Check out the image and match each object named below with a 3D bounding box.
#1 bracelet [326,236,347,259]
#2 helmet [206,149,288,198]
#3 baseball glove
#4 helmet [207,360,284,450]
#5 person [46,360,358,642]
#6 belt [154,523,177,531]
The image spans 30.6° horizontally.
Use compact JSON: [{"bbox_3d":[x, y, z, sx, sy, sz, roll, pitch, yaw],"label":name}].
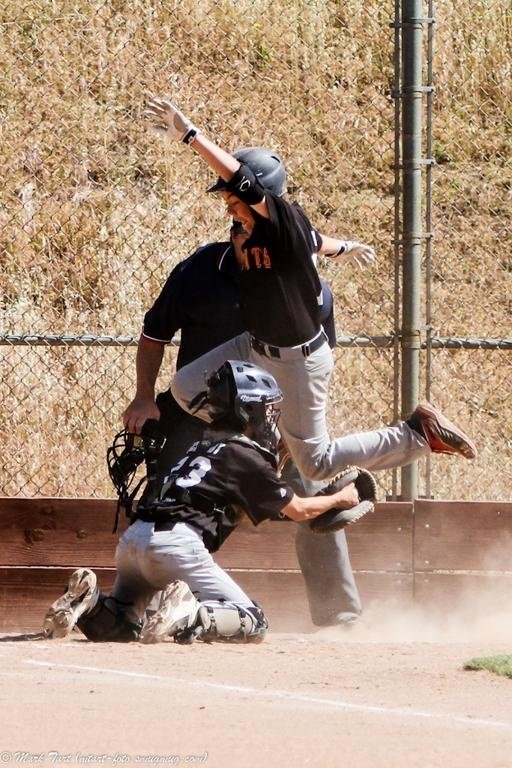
[{"bbox_3d":[0.370,-0.619,4.282,0.050,0.052,0.136,11,28,22],"label":"bracelet"},{"bbox_3d":[-0.029,-0.906,3.912,0.296,0.200,0.265,13,17,22],"label":"helmet"},{"bbox_3d":[0.403,0.465,3.873,0.117,0.197,0.239,32,27,-31],"label":"baseball glove"},{"bbox_3d":[-0.052,0.058,3.524,0.329,0.276,0.244,11,6,-18],"label":"helmet"},{"bbox_3d":[-0.414,0.496,3.915,1.325,1.132,0.844,15,-4,-37],"label":"person"},{"bbox_3d":[-0.334,0.515,3.383,0.075,0.028,0.016,2,-6,15],"label":"belt"}]
